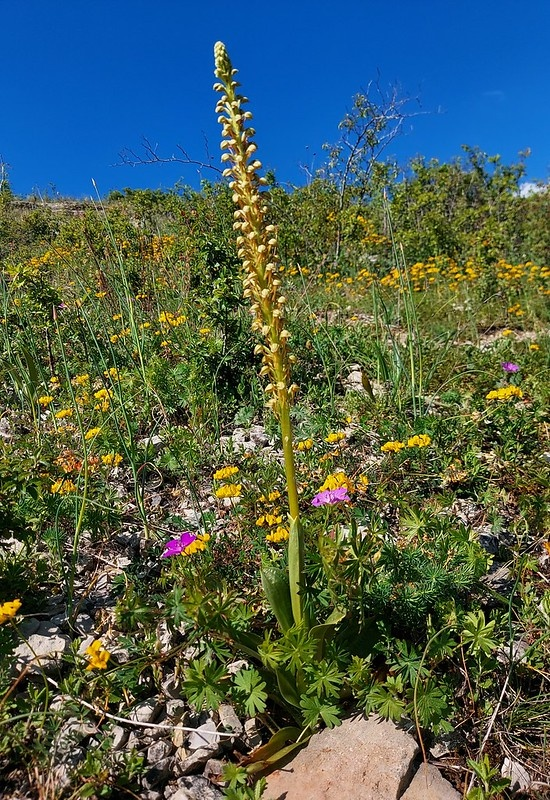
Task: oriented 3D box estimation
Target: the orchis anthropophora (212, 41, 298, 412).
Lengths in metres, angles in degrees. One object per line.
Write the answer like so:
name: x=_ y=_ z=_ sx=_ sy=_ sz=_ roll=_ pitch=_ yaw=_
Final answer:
orchis anthropophora: x=-0.077 y=-0.422 z=1.414 sx=0.203 sy=0.990 sz=0.181 roll=-9 pitch=17 yaw=-28
